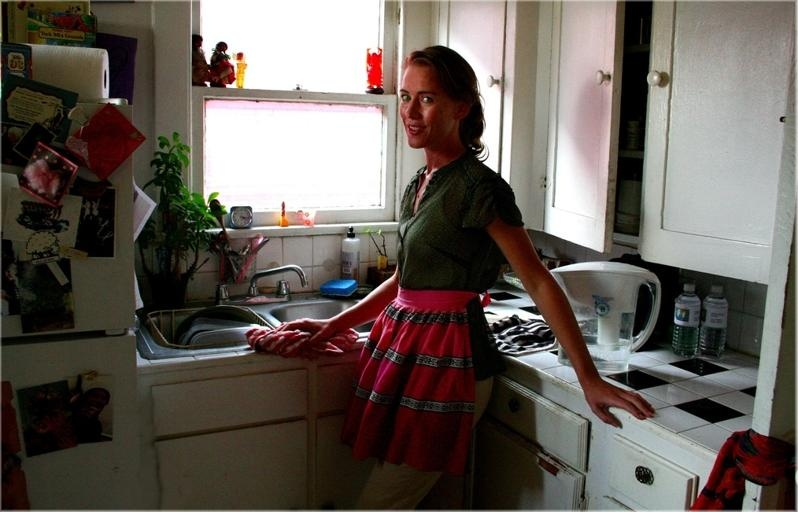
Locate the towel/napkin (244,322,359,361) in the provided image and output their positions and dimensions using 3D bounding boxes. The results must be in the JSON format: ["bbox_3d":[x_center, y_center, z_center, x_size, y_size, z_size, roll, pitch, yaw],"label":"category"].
[{"bbox_3d":[-0.362,0.329,2.116,0.260,0.070,0.166,0,-1,-25],"label":"towel/napkin"}]

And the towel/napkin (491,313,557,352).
[{"bbox_3d":[0.471,0.296,2.158,0.174,0.020,0.142,-3,16,-13],"label":"towel/napkin"}]

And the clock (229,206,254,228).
[{"bbox_3d":[-0.749,-0.183,2.688,0.105,0.098,0.034,0,6,-16],"label":"clock"}]

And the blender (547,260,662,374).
[{"bbox_3d":[0.708,0.220,1.985,0.382,0.366,0.241,1,7,9],"label":"blender"}]
